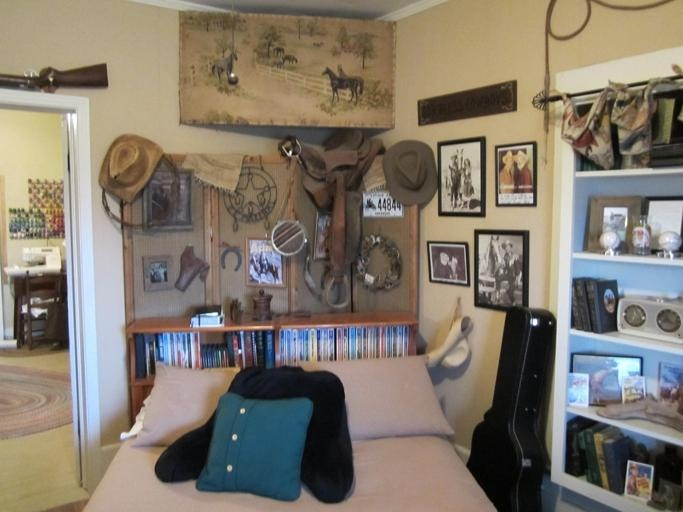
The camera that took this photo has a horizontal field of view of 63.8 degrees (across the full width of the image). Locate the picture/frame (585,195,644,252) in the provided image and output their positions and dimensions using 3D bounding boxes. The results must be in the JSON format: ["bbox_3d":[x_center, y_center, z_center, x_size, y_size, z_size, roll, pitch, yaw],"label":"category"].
[{"bbox_3d":[1.618,-0.190,3.235,0.310,0.466,0.031,-1,-6,43],"label":"picture/frame"}]

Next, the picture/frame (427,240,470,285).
[{"bbox_3d":[0.803,0.050,4.106,0.020,0.339,0.305,-6,4,-44],"label":"picture/frame"}]

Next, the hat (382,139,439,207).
[{"bbox_3d":[0.512,-0.630,4.158,0.407,0.502,0.184,-2,2,7],"label":"hat"}]

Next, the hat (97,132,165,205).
[{"bbox_3d":[-1.515,-0.652,3.919,0.392,0.493,0.142,26,-7,-5],"label":"hat"}]

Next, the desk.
[{"bbox_3d":[-3.848,0.683,6.989,0.606,0.666,0.762,-3,2,-31],"label":"desk"}]

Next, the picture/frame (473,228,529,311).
[{"bbox_3d":[1.108,0.092,3.787,0.057,0.798,0.529,-2,1,-38],"label":"picture/frame"}]

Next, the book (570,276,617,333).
[{"bbox_3d":[1.489,0.276,3.336,0.257,0.375,0.351,4,4,44],"label":"book"}]

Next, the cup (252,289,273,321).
[{"bbox_3d":[-0.578,0.353,3.996,0.178,0.270,0.189,0,5,0],"label":"cup"}]

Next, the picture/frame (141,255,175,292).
[{"bbox_3d":[-1.361,0.123,4.014,0.227,0.326,0.025,-2,6,-22],"label":"picture/frame"}]

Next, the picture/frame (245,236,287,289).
[{"bbox_3d":[-0.578,0.034,4.127,0.337,0.508,0.034,-1,4,0],"label":"picture/frame"}]

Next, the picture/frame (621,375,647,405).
[{"bbox_3d":[1.741,0.804,3.270,0.136,0.214,0.021,4,-8,4],"label":"picture/frame"}]

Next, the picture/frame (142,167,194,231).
[{"bbox_3d":[-1.286,-0.427,3.992,0.398,0.588,0.076,-1,2,-17],"label":"picture/frame"}]

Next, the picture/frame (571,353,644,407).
[{"bbox_3d":[1.599,0.729,3.330,0.443,0.417,0.256,1,3,26],"label":"picture/frame"}]
